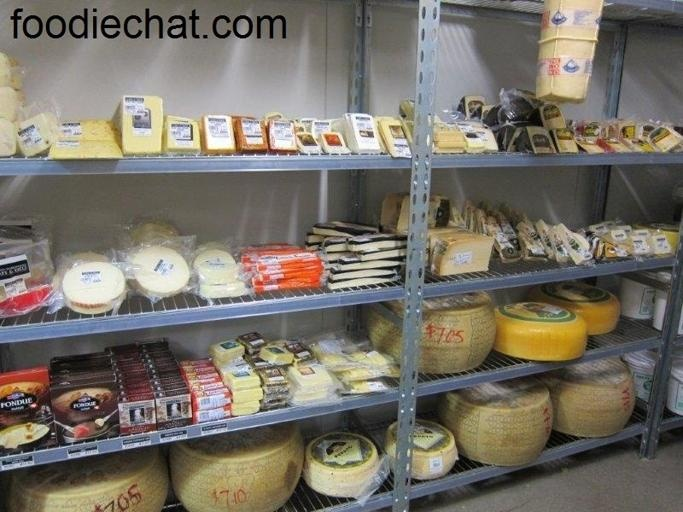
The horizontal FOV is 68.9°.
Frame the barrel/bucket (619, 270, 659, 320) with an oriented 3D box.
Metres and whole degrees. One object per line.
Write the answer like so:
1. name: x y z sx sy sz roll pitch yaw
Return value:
1. barrel/bucket: 1.757 0.225 3.018 0.257 0.258 0.258 -3 10 0
